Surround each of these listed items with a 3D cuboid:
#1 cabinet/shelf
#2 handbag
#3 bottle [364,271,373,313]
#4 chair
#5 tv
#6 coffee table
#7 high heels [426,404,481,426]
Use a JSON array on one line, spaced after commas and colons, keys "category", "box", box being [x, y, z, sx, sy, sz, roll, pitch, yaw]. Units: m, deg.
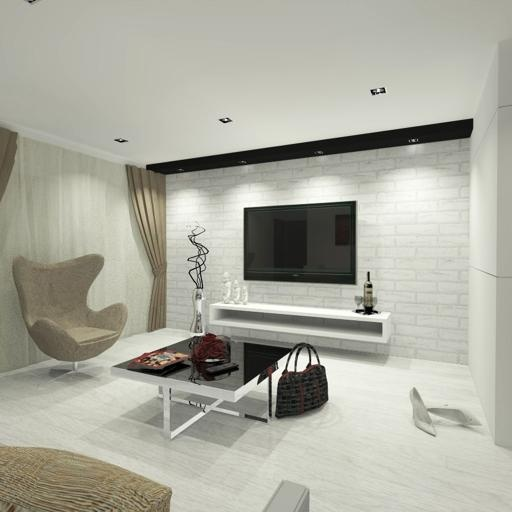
[{"category": "cabinet/shelf", "box": [0.472, 0.732, 4.878, 2.190, 0.397, 0.349, -1, -1, 27]}, {"category": "handbag", "box": [0.349, 0.980, 3.192, 0.616, 0.503, 0.172, -2, 1, -40]}, {"category": "bottle", "box": [1.216, 0.388, 4.453, 0.114, 0.432, 0.269, 1, 4, 14]}, {"category": "chair", "box": [-1.766, 0.493, 4.147, 1.129, 1.175, 1.201, 2, 2, 29]}, {"category": "tv", "box": [0.575, -0.162, 4.905, 1.253, 0.717, 0.086, 2, 1, 25]}, {"category": "coffee table", "box": [-0.331, 0.970, 3.045, 0.976, 0.332, 1.047, 0, -4, 31]}, {"category": "high heels", "box": [1.416, 1.096, 2.835, 0.436, 0.089, 0.151, 2, -1, 29]}]
